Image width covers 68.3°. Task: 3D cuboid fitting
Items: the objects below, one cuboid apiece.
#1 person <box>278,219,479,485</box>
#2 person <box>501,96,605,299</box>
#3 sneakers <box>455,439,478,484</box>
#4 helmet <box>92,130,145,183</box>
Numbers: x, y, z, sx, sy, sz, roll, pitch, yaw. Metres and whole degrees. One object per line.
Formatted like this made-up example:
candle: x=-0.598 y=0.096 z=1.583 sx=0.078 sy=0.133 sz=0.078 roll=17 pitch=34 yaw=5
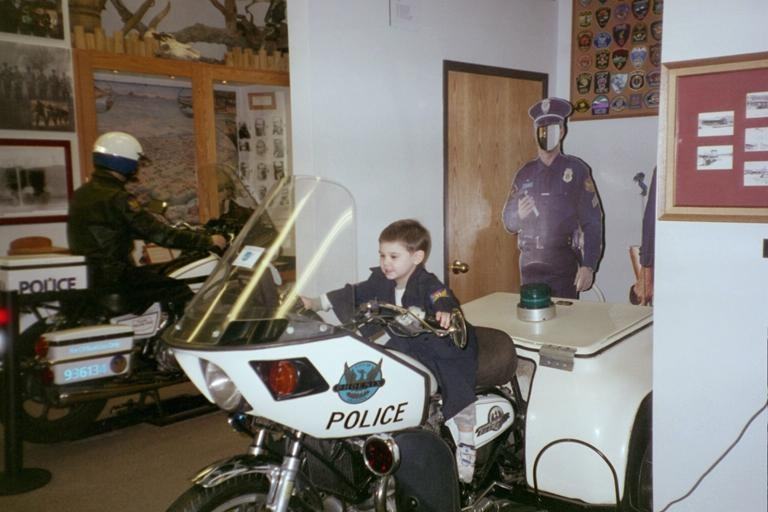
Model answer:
person: x=0.018 y=0.347 z=2.605 sx=0.630 sy=0.967 sz=0.539 roll=2 pitch=20 yaw=-3
person: x=1.313 y=-0.089 z=4.524 sx=0.783 sy=2.094 sz=0.629 roll=2 pitch=15 yaw=19
sneakers: x=0.360 y=0.915 z=2.511 sx=0.105 sy=0.179 sz=0.056 roll=7 pitch=12 yaw=12
helmet: x=-1.874 y=-0.689 z=3.999 sx=0.292 sy=0.351 sz=0.376 roll=23 pitch=20 yaw=28
